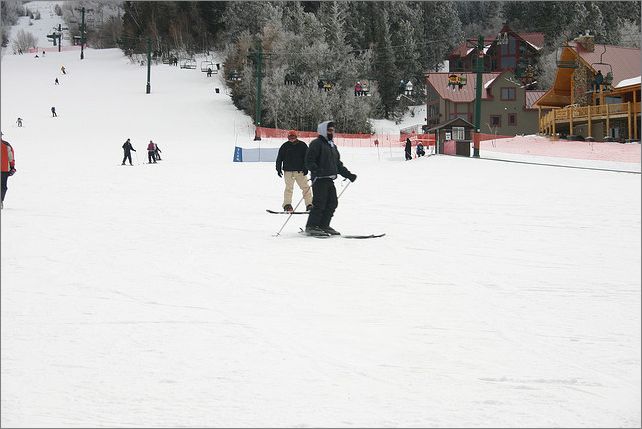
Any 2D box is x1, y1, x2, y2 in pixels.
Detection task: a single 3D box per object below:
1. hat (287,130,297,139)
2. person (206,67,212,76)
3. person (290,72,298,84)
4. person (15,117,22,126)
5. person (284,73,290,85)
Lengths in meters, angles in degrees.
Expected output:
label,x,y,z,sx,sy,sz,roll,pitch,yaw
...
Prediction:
label,x,y,z,sx,sy,sz,roll,pitch,yaw
hat,-1.916,-5.201,72.203,0.534,0.613,1.308,1,6,0
person,-13.223,-16.658,129.743,0.482,0.964,1.396,0,6,-12
person,-2.928,-14.456,117.464,0.882,1.374,2.665,1,6,-2
person,-28.606,-8.746,104.383,0.634,0.855,2.751,0,6,-15
person,-3.676,-14.427,117.583,0.657,1.151,1.823,1,5,-1
